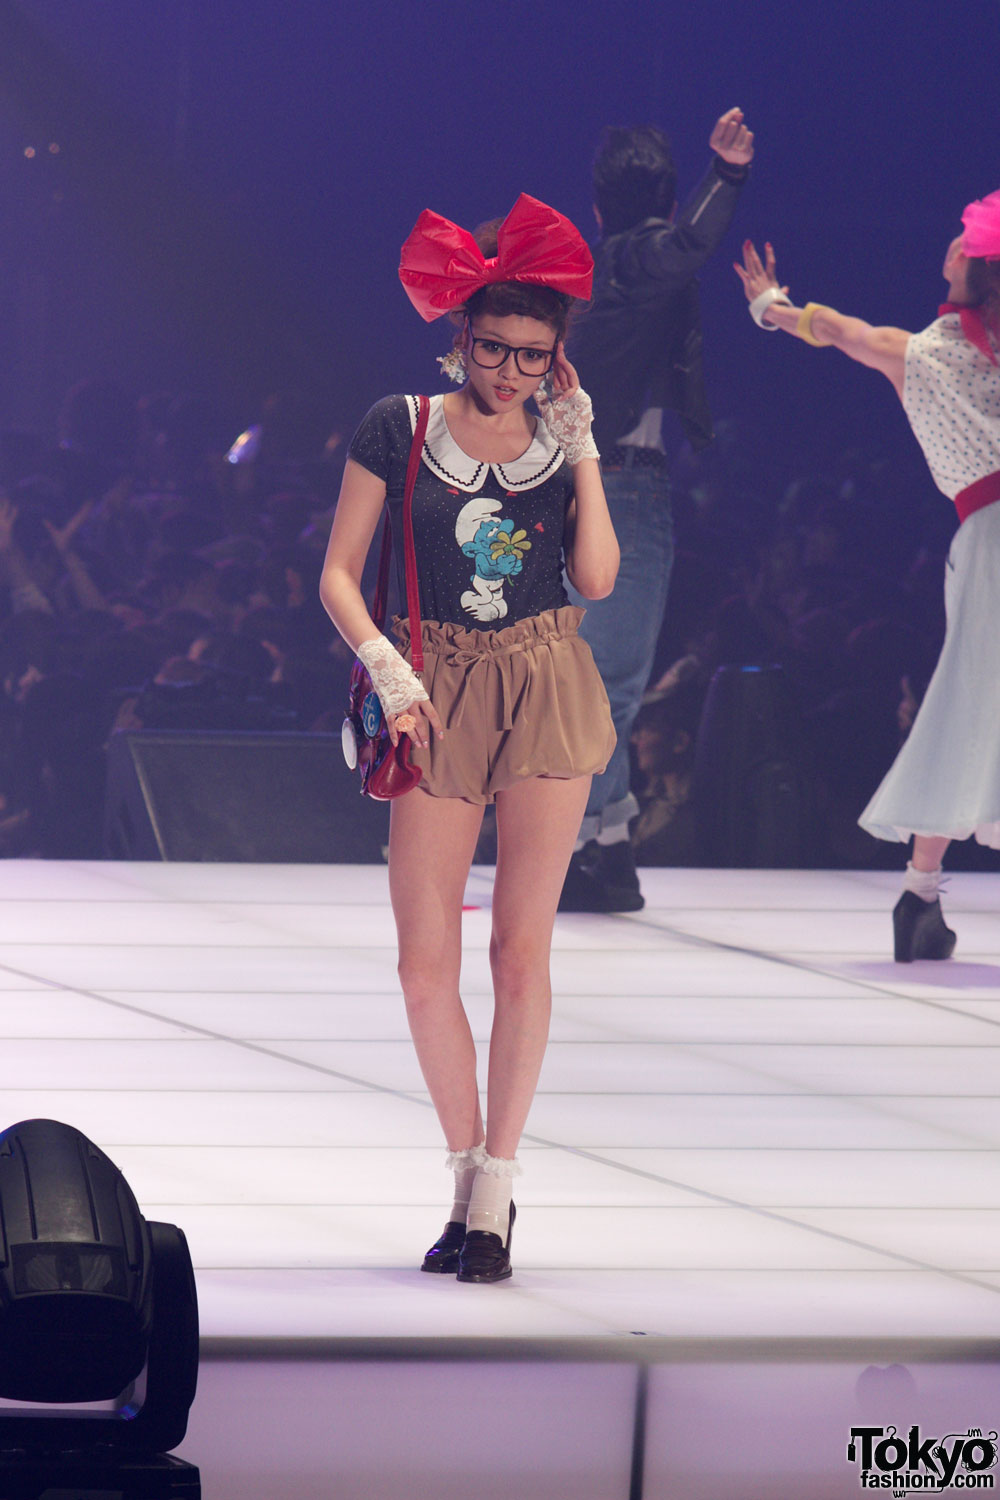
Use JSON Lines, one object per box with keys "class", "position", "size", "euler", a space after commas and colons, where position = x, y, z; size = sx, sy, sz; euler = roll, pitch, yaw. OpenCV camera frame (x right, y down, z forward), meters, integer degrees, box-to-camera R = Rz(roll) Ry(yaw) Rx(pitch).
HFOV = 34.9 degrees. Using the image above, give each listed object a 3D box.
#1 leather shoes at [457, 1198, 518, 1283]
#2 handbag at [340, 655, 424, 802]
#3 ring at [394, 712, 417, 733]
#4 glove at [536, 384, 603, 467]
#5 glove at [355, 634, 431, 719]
{"class": "leather shoes", "position": [-0.014, 0.493, 1.595], "size": [0.052, 0.048, 0.133], "euler": [-2, -10, 6]}
{"class": "handbag", "position": [-0.129, -0.018, 1.718], "size": [0.116, 0.133, 0.061], "euler": [-5, 4, 18]}
{"class": "ring", "position": [-0.096, -0.028, 1.640], "size": [0.024, 0.021, 0.012], "euler": [3, 9, -26]}
{"class": "glove", "position": [0.082, -0.362, 1.778], "size": [0.065, 0.088, 0.027], "euler": [-8, 13, 10]}
{"class": "glove", "position": [-0.113, -0.073, 1.651], "size": [0.064, 0.095, 0.028], "euler": [-28, -15, -2]}
